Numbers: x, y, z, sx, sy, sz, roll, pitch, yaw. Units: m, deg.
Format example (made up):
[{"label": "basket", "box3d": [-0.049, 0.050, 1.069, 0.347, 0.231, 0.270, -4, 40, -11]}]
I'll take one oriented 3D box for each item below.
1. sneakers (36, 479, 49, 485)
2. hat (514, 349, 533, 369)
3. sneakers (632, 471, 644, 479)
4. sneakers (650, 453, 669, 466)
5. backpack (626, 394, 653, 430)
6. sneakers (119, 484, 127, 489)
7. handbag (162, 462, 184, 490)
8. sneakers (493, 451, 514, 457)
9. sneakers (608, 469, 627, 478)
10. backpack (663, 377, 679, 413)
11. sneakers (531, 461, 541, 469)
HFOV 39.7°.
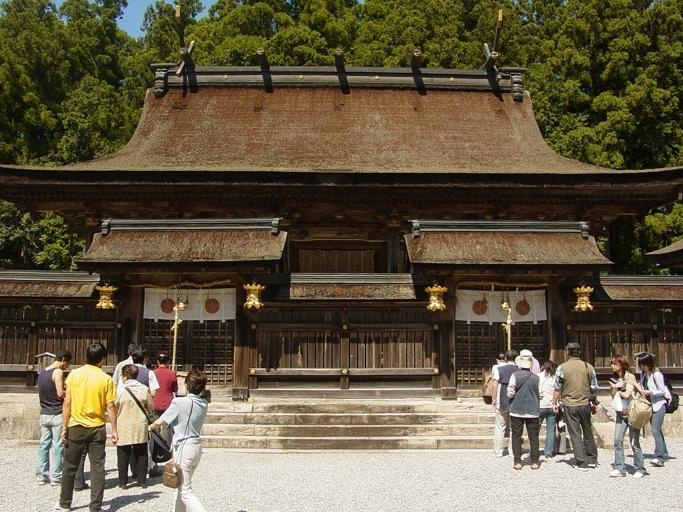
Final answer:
[{"label": "sneakers", "box3d": [-7.168, 5.442, 22.687, 0.141, 0.080, 0.179, -2, -6, 7]}, {"label": "hat", "box3d": [4.629, 2.599, 23.917, 0.380, 0.491, 0.177, -2, -44, 11]}, {"label": "sneakers", "box3d": [7.253, 5.327, 23.013, 0.320, 0.176, 0.133, 4, -15, -23]}, {"label": "sneakers", "box3d": [7.988, 5.208, 23.848, 0.204, 0.244, 0.586, -10, -28, 26]}, {"label": "backpack", "box3d": [7.300, 3.825, 23.171, 0.575, 0.847, 0.317, -6, -15, 16]}, {"label": "sneakers", "box3d": [-5.176, 5.476, 22.468, 0.135, 0.092, 0.129, 2, -4, 2]}, {"label": "handbag", "box3d": [-3.662, 4.786, 20.607, 0.426, 0.536, 0.247, 2, -15, -16]}, {"label": "sneakers", "box3d": [4.138, 5.103, 24.370, 0.273, 0.131, 0.201, 1, -7, -5]}, {"label": "sneakers", "box3d": [6.730, 5.300, 22.993, 0.435, 0.179, 0.168, 4, -11, -9]}, {"label": "backpack", "box3d": [8.260, 3.499, 23.688, 0.318, 0.810, 0.864, -6, -14, 17]}, {"label": "sneakers", "box3d": [4.826, 5.198, 23.446, 0.187, 0.056, 0.161, -3, 15, 3]}]
